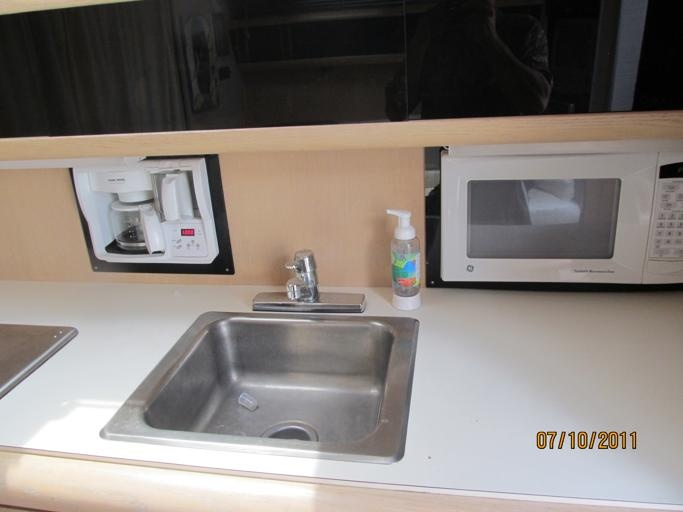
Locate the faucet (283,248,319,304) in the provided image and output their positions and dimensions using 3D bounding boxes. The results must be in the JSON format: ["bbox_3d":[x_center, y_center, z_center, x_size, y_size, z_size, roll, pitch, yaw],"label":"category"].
[{"bbox_3d":[-0.111,0.047,1.439,0.087,0.135,0.103,-4,18,-1],"label":"faucet"}]

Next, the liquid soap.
[{"bbox_3d":[0.171,0.000,1.402,0.088,0.267,0.138,-2,18,6],"label":"liquid soap"}]

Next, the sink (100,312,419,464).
[{"bbox_3d":[-0.140,0.328,1.208,0.612,0.231,0.454,0,17,12],"label":"sink"}]
